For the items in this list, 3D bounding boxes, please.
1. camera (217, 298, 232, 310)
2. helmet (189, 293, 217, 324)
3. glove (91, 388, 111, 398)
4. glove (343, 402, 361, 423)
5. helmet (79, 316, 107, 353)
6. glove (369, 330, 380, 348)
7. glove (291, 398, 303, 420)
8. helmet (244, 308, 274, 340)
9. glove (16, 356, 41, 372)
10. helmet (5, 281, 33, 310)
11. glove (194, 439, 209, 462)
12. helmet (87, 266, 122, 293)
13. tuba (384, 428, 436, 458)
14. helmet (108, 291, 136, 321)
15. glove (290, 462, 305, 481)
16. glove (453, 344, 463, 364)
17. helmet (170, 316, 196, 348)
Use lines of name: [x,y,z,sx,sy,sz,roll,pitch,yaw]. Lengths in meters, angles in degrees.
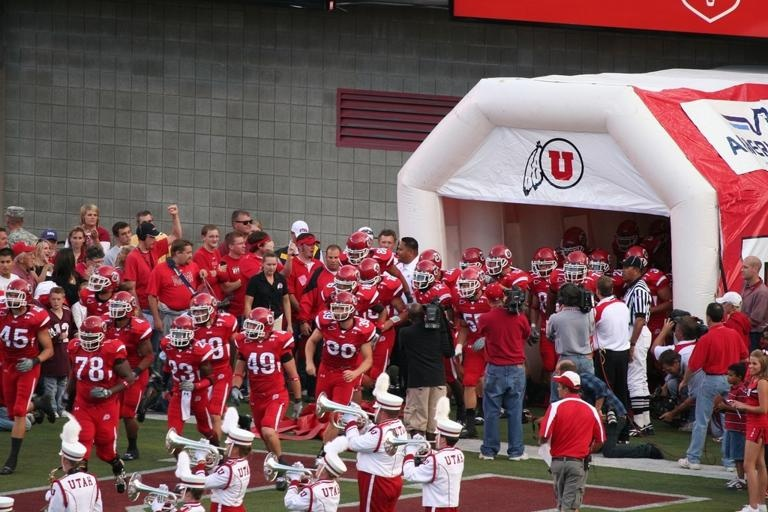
camera: [-2.432,0.738,20.129,0.238,0.241,0.080,3,-2,-14]
helmet: [-2.498,0.731,18.303,0.355,0.441,0.399,1,-5,-11]
glove: [-3.728,1.796,17.538,0.281,0.148,0.132,2,-5,-13]
glove: [-0.366,1.903,16.080,0.147,0.213,0.074,-1,-5,21]
helmet: [-3.891,1.002,17.812,0.346,0.407,0.496,3,14,11]
glove: [-0.126,1.171,18.782,0.126,0.236,0.159,-4,2,-39]
glove: [-1.317,2.223,19.437,0.092,0.300,0.209,13,11,17]
helmet: [-1.688,0.891,18.318,0.467,0.387,0.357,-10,16,-43]
glove: [-4.925,1.494,18.374,0.282,0.187,0.103,2,-6,-18]
helmet: [-5.031,0.539,18.451,0.289,0.354,0.398,-2,-7,3]
glove: [-2.135,2.259,15.548,0.156,0.254,0.203,1,-5,-8]
helmet: [-3.986,0.331,18.946,0.419,0.349,0.304,8,-3,-22]
tuba: [0.278,2.226,15.908,0.464,0.294,0.284,-3,3,13]
helmet: [-3.613,0.679,18.276,0.324,0.380,0.385,1,-5,-10]
glove: [-1.023,2.516,15.598,0.236,0.199,0.244,1,-5,-5]
glove: [1.132,1.500,20.408,0.084,0.272,0.199,5,-16,1]
helmet: [-2.754,0.976,18.122,0.328,0.375,0.456,1,13,8]
